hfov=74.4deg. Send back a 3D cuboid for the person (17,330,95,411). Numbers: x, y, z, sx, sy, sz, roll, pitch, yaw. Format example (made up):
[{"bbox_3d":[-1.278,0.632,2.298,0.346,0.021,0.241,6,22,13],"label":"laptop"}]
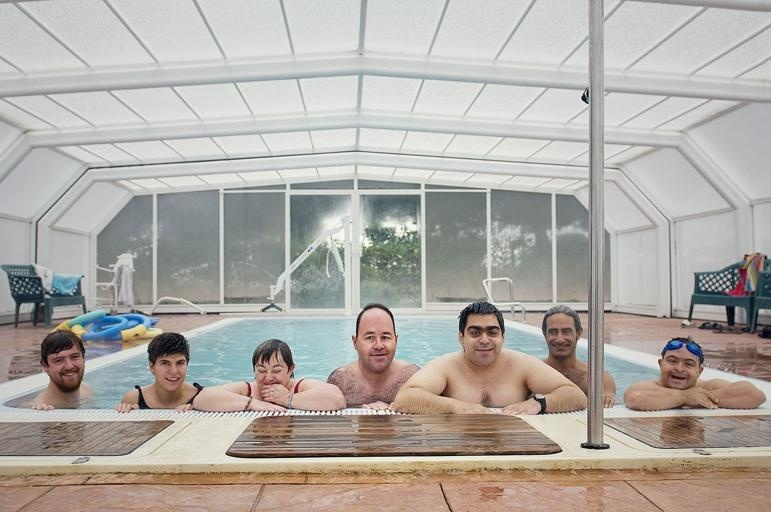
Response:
[{"bbox_3d":[-3.105,1.084,4.852,0.457,0.814,0.461,-3,7,-29],"label":"person"}]

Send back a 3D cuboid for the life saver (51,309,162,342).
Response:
[{"bbox_3d":[-4.698,1.146,8.408,1.302,0.277,1.018,5,5,13],"label":"life saver"}]

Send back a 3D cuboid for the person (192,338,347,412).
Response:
[{"bbox_3d":[-1.021,1.088,4.544,1.265,0.522,0.637,0,-2,-5],"label":"person"}]

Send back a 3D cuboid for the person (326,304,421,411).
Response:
[{"bbox_3d":[-0.086,0.971,4.923,1.082,0.871,0.581,2,-9,-16],"label":"person"}]

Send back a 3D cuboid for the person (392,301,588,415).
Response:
[{"bbox_3d":[0.890,0.872,4.335,1.619,0.891,0.724,0,6,1],"label":"person"}]

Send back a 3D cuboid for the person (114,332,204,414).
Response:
[{"bbox_3d":[-1.951,1.069,4.578,0.772,0.617,0.430,7,-15,-33],"label":"person"}]

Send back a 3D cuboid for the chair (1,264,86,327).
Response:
[{"bbox_3d":[-6.744,0.717,10.134,1.458,1.130,1.295,-1,-1,18],"label":"chair"}]

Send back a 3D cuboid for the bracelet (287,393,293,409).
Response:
[{"bbox_3d":[-0.801,1.214,4.281,0.053,0.102,0.150,-1,5,-11],"label":"bracelet"}]

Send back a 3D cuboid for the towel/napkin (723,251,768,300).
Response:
[{"bbox_3d":[6.386,0.331,8.963,0.921,0.897,0.580,3,-3,12],"label":"towel/napkin"}]

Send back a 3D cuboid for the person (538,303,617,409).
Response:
[{"bbox_3d":[1.827,1.019,5.204,1.123,0.897,0.656,0,-12,27],"label":"person"}]
